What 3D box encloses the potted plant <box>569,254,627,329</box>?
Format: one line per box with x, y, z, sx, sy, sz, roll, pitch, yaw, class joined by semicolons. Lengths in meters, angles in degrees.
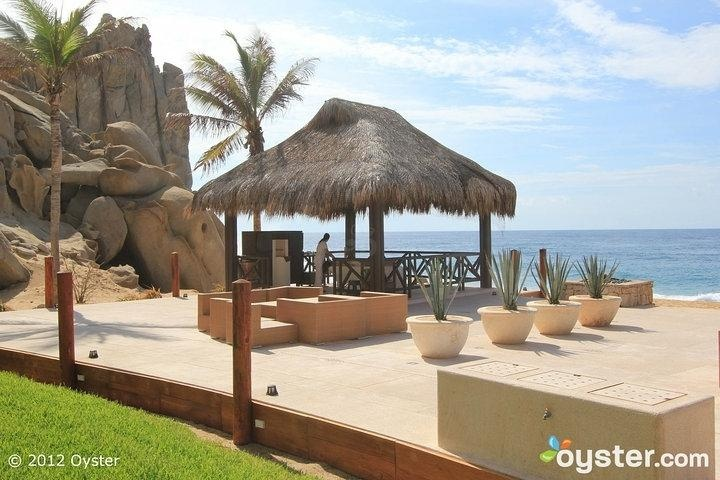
4.345;1.006;11.399;0.927;1.225;0.959;0;3;-3;potted plant

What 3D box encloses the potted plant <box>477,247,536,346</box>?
2.425;0.940;9.799;0.890;1.549;1.126;0;-1;16;potted plant

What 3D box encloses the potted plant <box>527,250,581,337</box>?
3.373;0.972;10.612;0.906;1.296;0.937;1;-1;-2;potted plant
